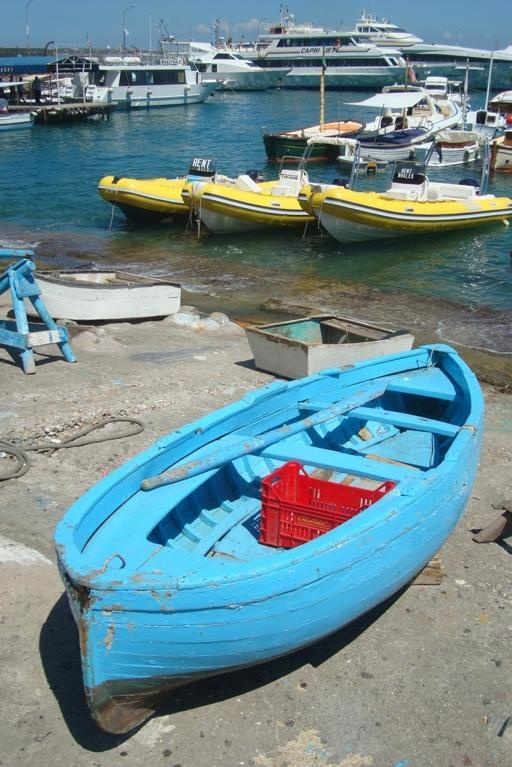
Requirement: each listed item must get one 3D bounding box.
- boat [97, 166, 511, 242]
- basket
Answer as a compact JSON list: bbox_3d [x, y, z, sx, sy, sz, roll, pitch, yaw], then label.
[{"bbox_3d":[0.878,-5.391,19.080,10.957,1.852,3.802,5,16,19],"label":"boat"},{"bbox_3d":[0.410,0.883,4.407,0.914,0.402,0.496,11,24,35],"label":"basket"}]
